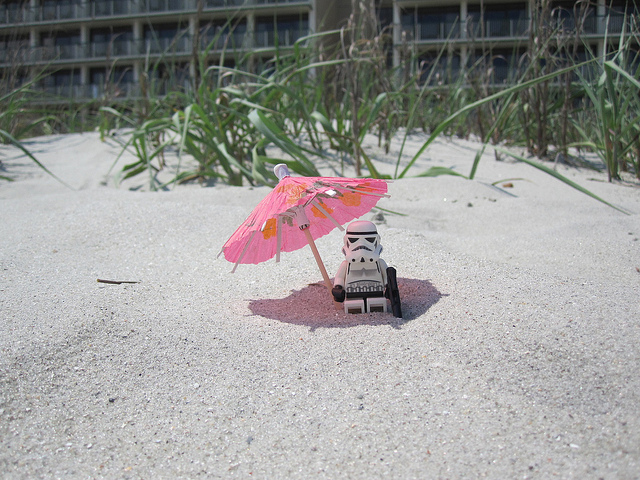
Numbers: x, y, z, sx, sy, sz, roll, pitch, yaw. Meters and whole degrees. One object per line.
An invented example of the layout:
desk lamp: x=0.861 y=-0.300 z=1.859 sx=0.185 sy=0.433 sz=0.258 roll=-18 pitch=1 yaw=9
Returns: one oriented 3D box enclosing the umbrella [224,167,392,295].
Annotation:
umbrella: x=-0.076 y=-0.054 z=2.975 sx=0.865 sy=0.618 sz=0.434 roll=-3 pitch=13 yaw=-15
